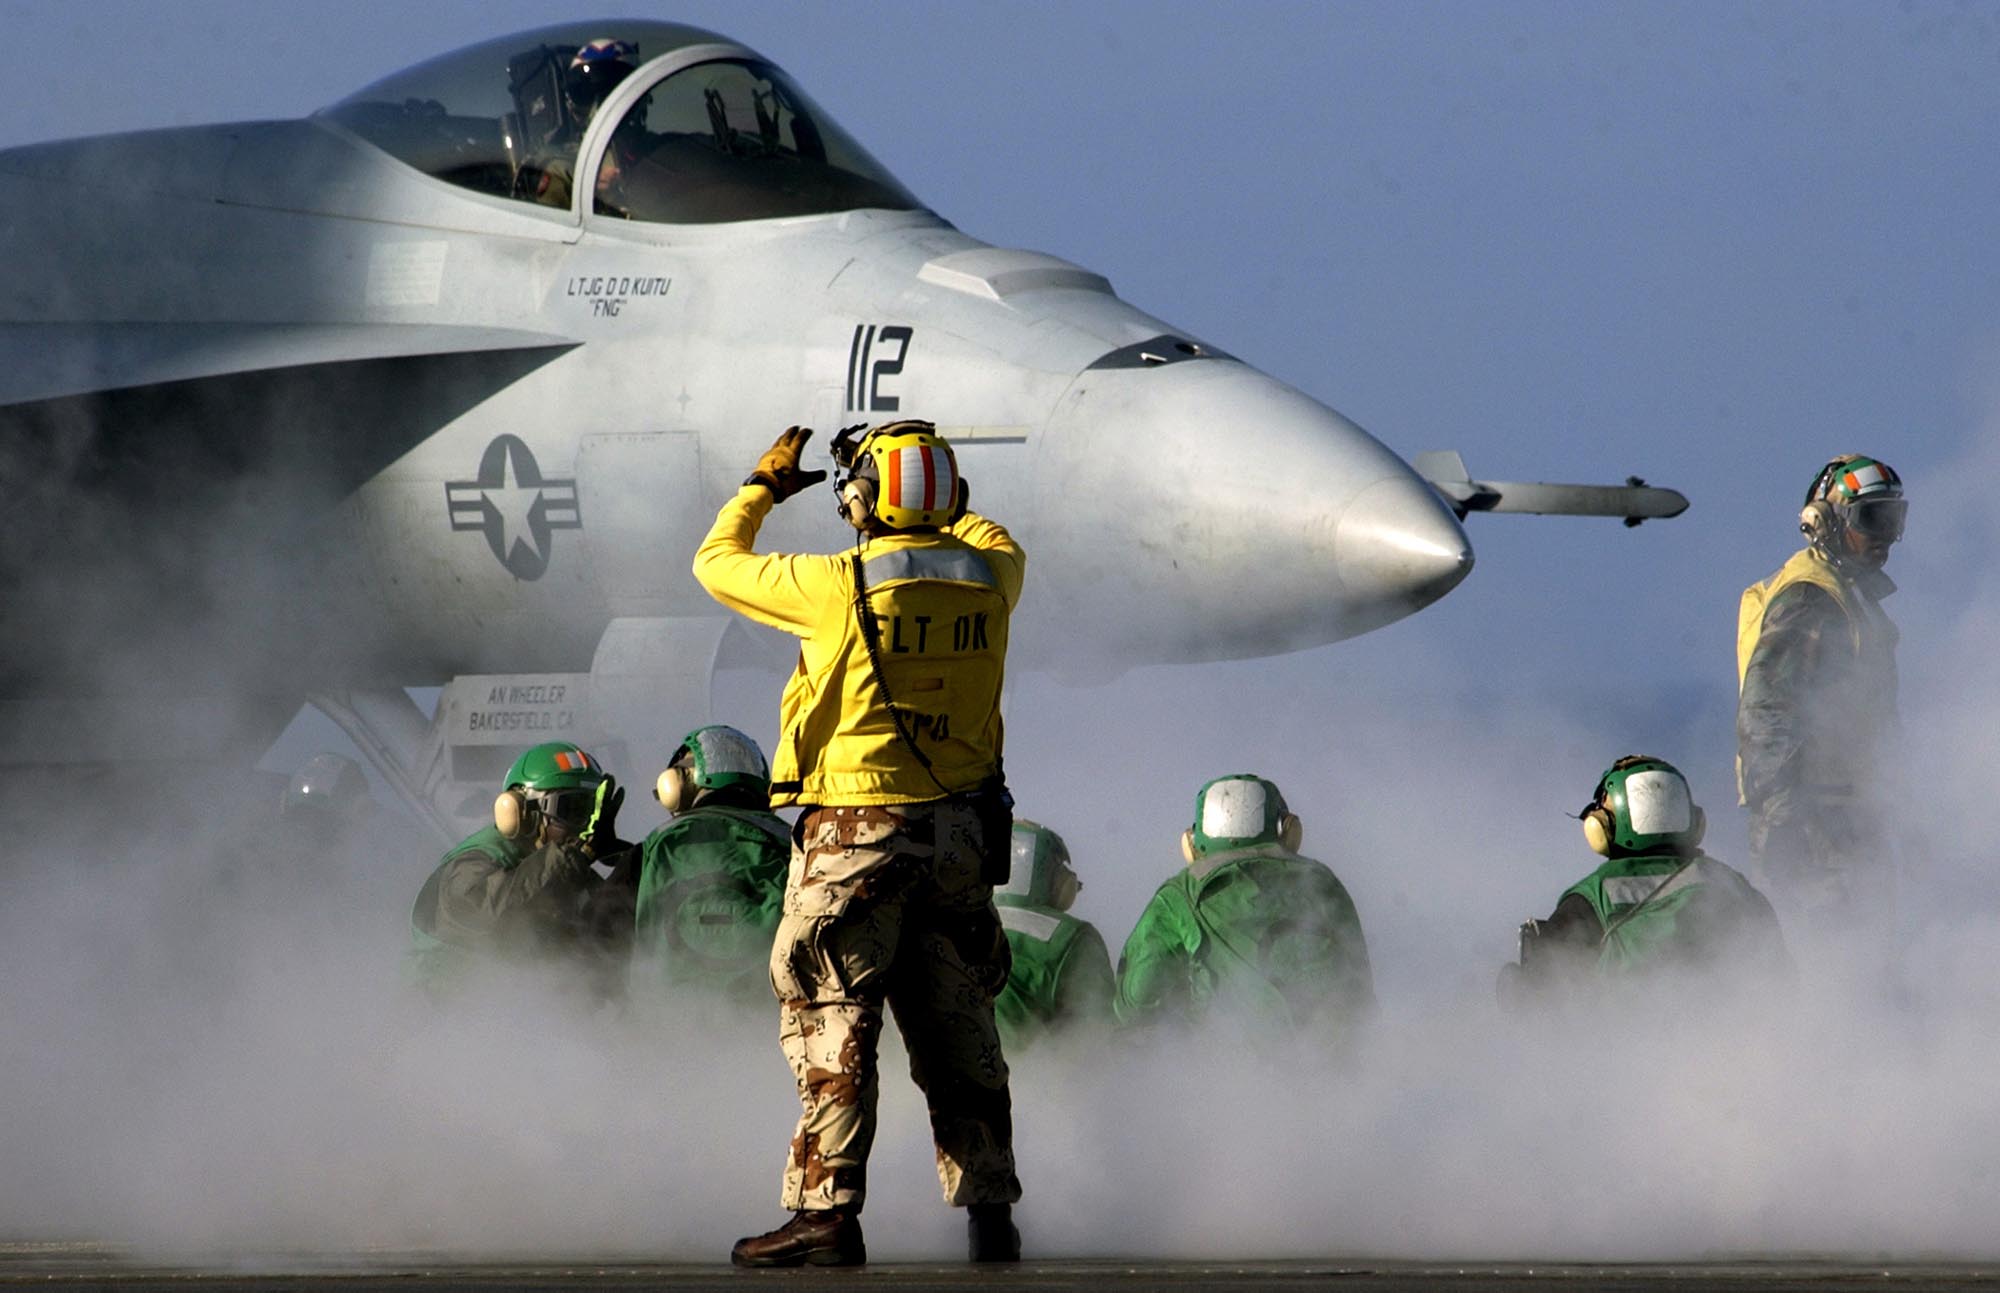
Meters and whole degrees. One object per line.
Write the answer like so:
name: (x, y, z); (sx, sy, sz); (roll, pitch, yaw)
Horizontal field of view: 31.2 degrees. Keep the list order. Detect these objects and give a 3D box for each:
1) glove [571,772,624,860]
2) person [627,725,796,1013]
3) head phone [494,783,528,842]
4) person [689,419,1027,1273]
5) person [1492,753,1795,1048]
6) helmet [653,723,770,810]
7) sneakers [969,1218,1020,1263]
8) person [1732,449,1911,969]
glove: (-2.058, 0.889, 18.936); (0.170, 0.400, 0.264); (17, 9, 29)
person: (-1.431, 1.091, 18.406); (0.902, 1.294, 0.547); (0, -5, 7)
head phone: (-2.550, 0.875, 18.842); (0.196, 0.231, 0.245); (-3, -2, -4)
person: (-0.557, 0.786, 16.536); (1.664, 4.113, 1.118); (9, -20, -19)
person: (3.316, 1.133, 18.383); (1.302, 1.243, 0.416); (-10, -22, 33)
helmet: (-1.427, 0.631, 18.678); (0.556, 0.437, 0.416); (10, -1, 25)
sneakers: (-0.022, 2.726, 16.401); (0.176, 0.186, 0.204); (1, -2, -9)
person: (4.557, 0.268, 19.856); (0.919, 2.689, 0.640); (-1, -19, 10)
